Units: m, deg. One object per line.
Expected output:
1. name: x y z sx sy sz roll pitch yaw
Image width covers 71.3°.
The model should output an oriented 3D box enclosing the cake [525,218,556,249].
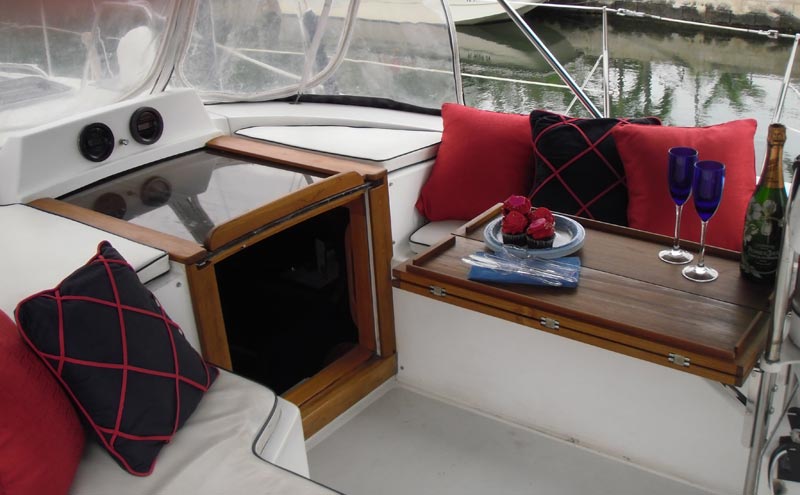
1. cake: 0.515 -0.055 2.122 0.114 0.116 0.103 -13 28 -16

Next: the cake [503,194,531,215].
1. cake: 0.454 -0.167 2.137 0.082 0.022 0.083 27 45 36
